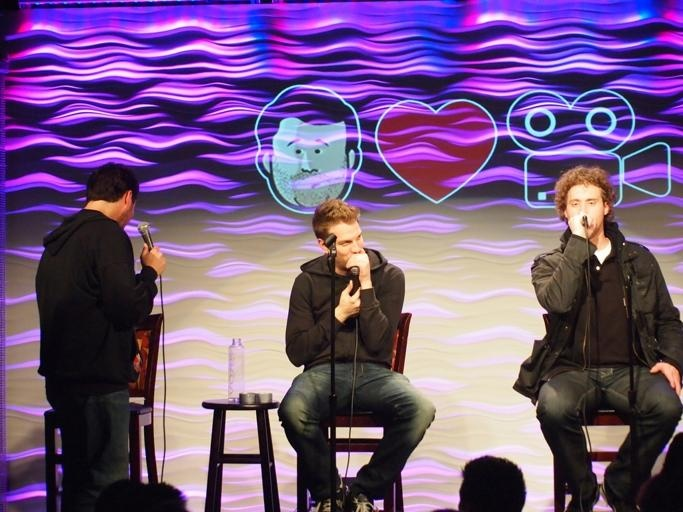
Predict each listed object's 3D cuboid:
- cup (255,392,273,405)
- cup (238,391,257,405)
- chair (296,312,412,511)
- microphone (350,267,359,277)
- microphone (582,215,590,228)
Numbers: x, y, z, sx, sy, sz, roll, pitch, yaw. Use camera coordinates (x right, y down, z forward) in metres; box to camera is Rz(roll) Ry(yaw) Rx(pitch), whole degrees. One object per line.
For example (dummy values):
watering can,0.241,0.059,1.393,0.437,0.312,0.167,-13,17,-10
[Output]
cup,-0.419,0.777,5.617,0.068,0.044,0.064,1,-1,0
cup,-0.514,0.772,5.591,0.071,0.045,0.069,3,-6,0
chair,0.074,0.838,5.636,0.562,1.085,0.659,2,-6,2
microphone,0.067,0.080,5.475,0.047,0.048,0.069,2,-6,-3
microphone,1.304,-0.182,5.476,0.036,0.072,0.125,1,-6,13
